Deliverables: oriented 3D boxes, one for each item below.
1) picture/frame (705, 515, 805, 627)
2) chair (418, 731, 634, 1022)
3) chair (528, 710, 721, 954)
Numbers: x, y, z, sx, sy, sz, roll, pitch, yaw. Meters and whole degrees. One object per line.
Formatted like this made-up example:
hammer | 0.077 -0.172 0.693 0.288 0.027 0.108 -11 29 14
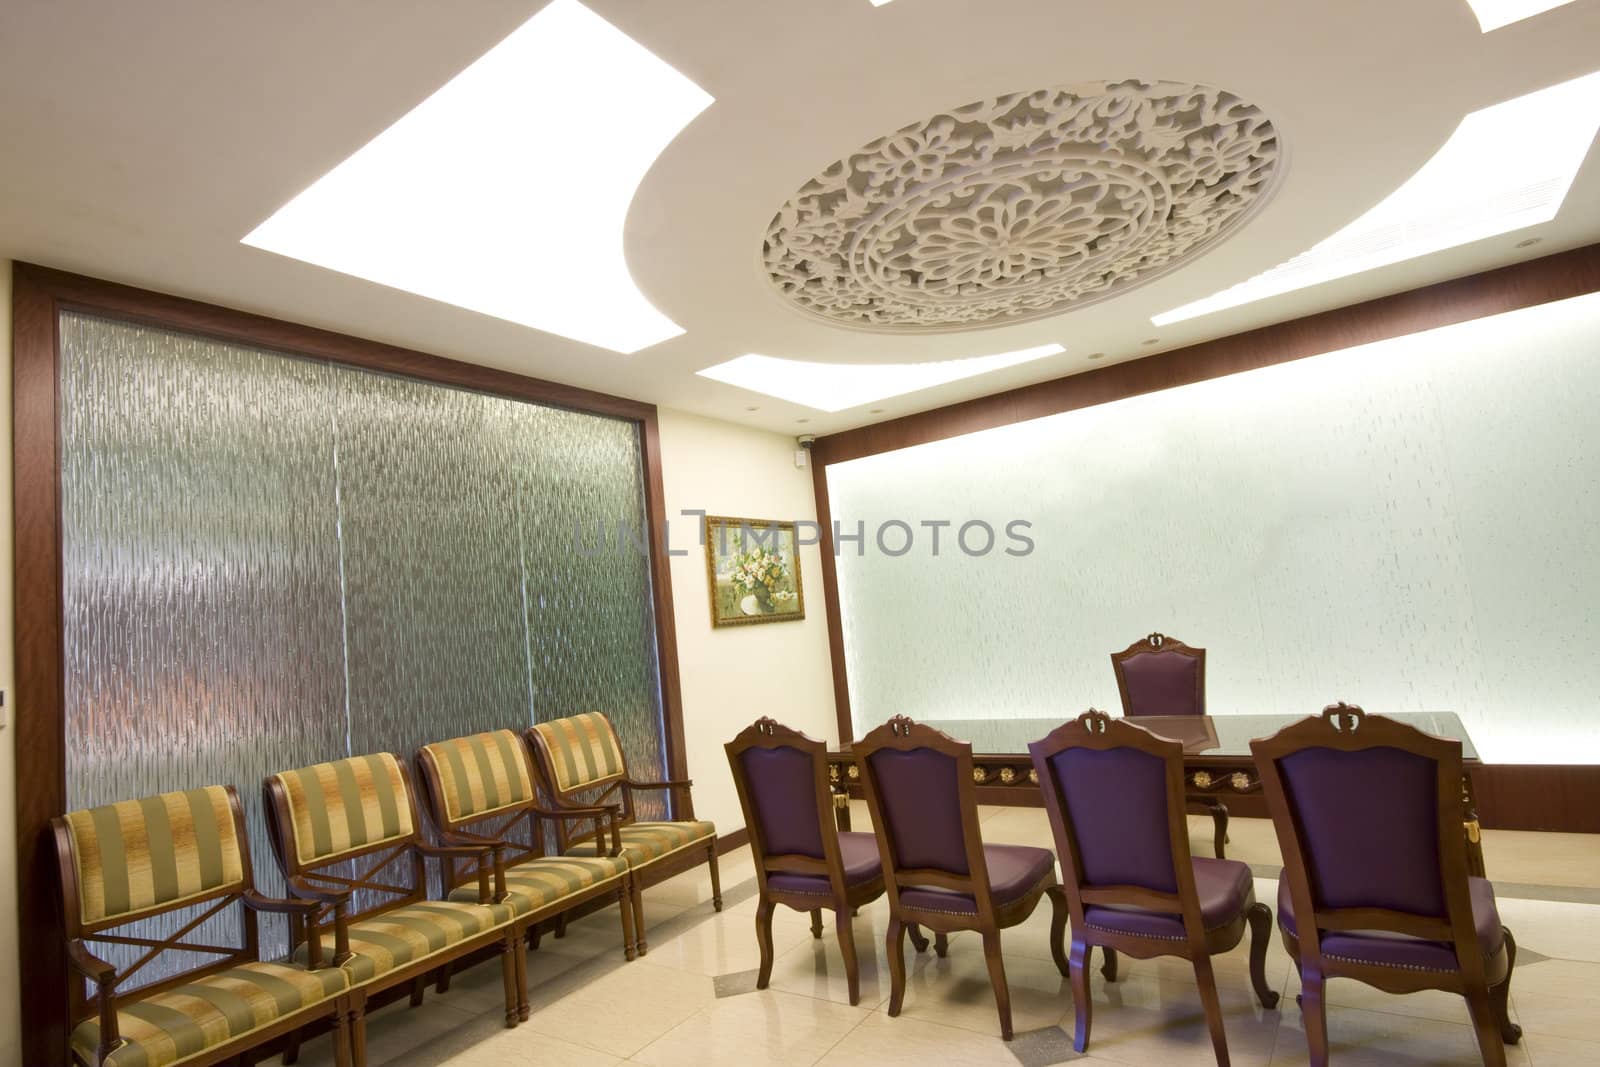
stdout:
picture/frame | -0.135 0.109 3.383 0.359 0.388 0.030 -1 9 4
chair | -0.911 1.242 4.405 0.877 1.197 0.811 -18 -14 39
chair | -0.777 1.133 4.448 0.817 1.105 0.724 -13 -9 31
